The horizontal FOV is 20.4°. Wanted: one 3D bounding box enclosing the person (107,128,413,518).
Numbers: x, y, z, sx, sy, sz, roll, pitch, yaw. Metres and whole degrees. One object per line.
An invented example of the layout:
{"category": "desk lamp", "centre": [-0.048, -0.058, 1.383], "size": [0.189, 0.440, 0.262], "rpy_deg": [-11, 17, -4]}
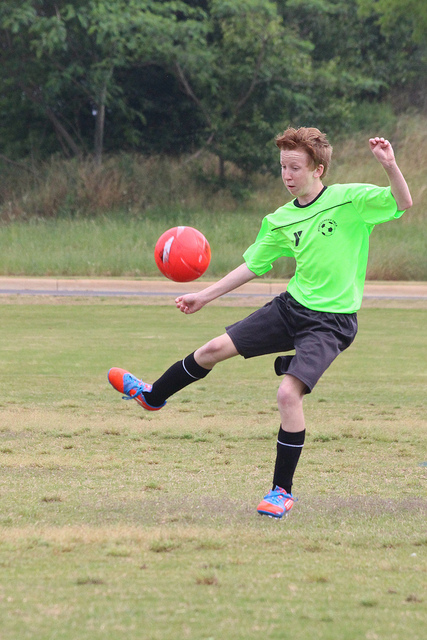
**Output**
{"category": "person", "centre": [0.373, -0.058, 6.871], "size": [0.791, 2.079, 1.242], "rpy_deg": [-8, 13, -40]}

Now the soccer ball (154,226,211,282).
{"category": "soccer ball", "centre": [-0.213, -0.421, 7.701], "size": [0.348, 0.364, 0.257], "rpy_deg": [1, 10, -3]}

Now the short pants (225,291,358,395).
{"category": "short pants", "centre": [0.447, 0.097, 6.796], "size": [0.614, 0.498, 0.495], "rpy_deg": [11, 14, 43]}
